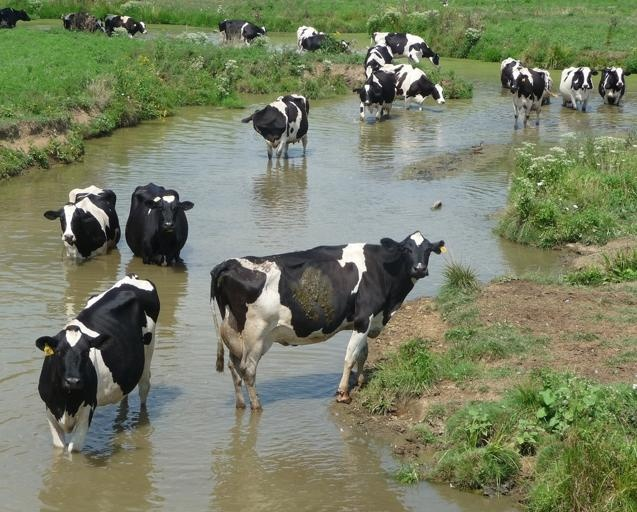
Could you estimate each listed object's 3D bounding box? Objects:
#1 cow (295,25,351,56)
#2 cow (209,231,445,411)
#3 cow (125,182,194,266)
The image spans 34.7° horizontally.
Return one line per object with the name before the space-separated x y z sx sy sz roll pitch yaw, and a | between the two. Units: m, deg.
cow | -0.063 -10.984 50.962 1.187 1.836 3.464 -27 30 -30
cow | 0.189 1.157 16.205 2.567 1.989 0.963 -3 0 -21
cow | -3.293 -0.636 21.041 0.914 1.540 1.808 -11 18 -34
